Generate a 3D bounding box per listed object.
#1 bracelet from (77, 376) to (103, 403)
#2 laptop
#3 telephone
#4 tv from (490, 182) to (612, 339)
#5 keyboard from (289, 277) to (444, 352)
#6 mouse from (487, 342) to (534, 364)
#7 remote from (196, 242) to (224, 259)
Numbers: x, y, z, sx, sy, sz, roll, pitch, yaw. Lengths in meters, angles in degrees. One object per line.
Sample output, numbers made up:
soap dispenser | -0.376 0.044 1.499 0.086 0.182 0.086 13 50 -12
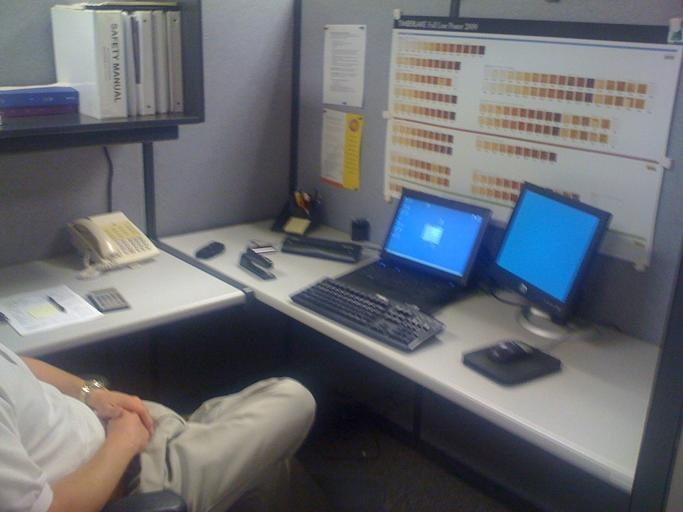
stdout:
bracelet | -0.715 0.379 1.514 0.048 0.050 0.050 33 39 -39
laptop | 0.289 -0.062 1.984 0.543 0.406 0.418 11 19 17
telephone | -0.841 -0.066 1.941 0.237 0.093 0.234 -25 64 -41
tv | 0.627 0.000 1.652 0.189 0.419 0.358 -5 20 -31
keyboard | 0.068 0.172 1.663 0.464 0.061 0.200 18 28 26
mouse | 0.473 0.264 1.481 0.145 0.026 0.072 -10 28 -31
remote | -0.504 -0.029 2.058 0.056 0.020 0.087 6 21 23
